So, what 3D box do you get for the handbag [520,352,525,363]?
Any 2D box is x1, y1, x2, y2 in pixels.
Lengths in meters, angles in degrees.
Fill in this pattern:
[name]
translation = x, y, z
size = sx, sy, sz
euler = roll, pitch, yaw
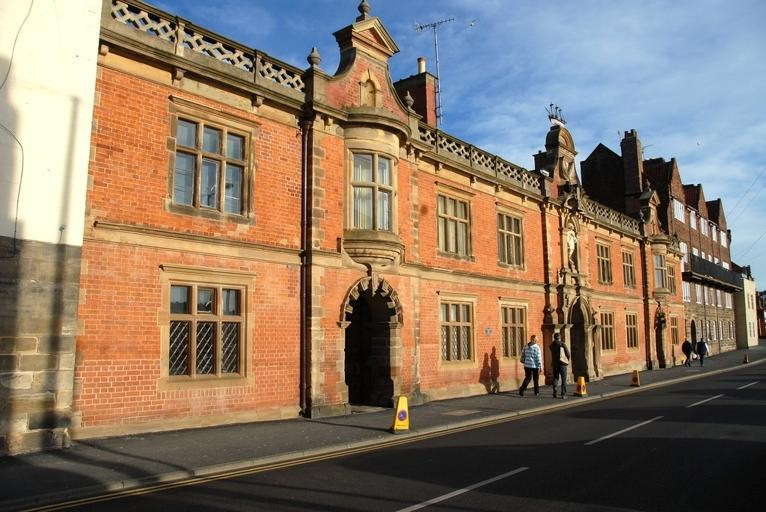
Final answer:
[handbag]
translation = 5.351, 3.881, 25.968
size = 0.092, 0.387, 0.273
euler = 5, 2, 34
